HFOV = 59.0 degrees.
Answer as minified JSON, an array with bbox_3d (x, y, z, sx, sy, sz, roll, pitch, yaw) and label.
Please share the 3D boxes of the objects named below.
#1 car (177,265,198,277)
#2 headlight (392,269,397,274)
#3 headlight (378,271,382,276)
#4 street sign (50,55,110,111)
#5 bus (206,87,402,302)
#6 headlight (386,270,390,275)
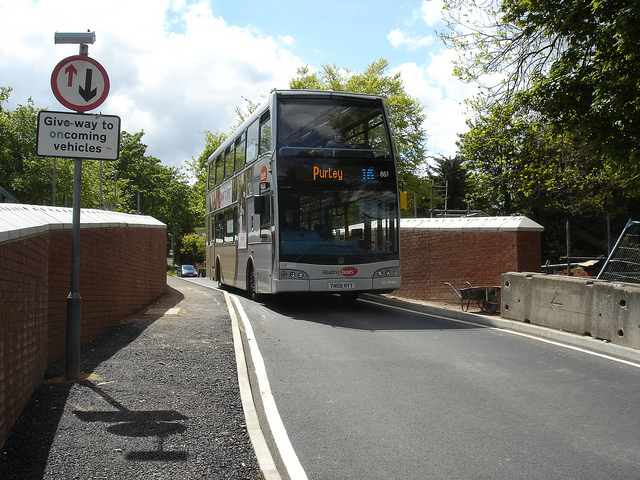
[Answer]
[{"bbox_3d":[-15.851,3.749,67.213,1.444,1.201,3.445,2,-8,-25],"label":"car"},{"bbox_3d":[1.985,0.818,14.737,0.112,0.117,0.038,2,-4,-28],"label":"headlight"},{"bbox_3d":[1.572,0.870,14.648,0.146,0.153,0.077,-1,2,3],"label":"headlight"},{"bbox_3d":[-3.170,-2.104,7.502,0.674,0.757,0.180,0,3,-19],"label":"street sign"},{"bbox_3d":[-1.428,-1.020,19.971,3.574,5.852,11.808,-1,-1,-21],"label":"bus"},{"bbox_3d":[1.779,0.836,14.758,0.148,0.143,0.077,-2,1,-6],"label":"headlight"}]
